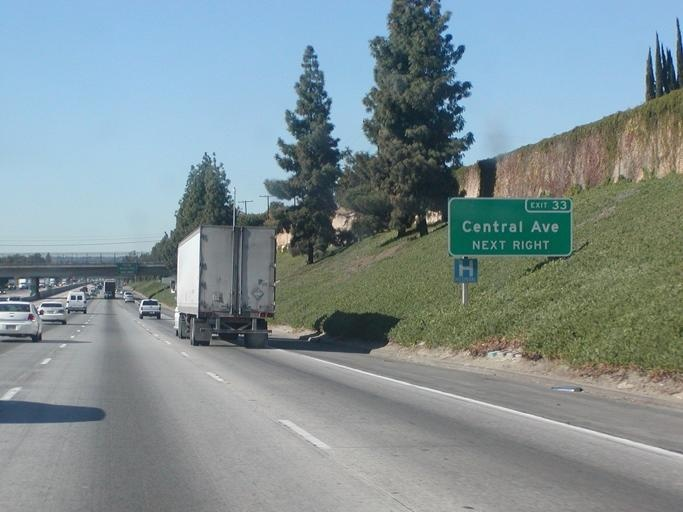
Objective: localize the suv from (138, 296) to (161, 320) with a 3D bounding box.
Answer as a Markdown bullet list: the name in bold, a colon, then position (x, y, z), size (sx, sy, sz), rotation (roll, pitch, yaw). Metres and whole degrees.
- **suv**: position (-17.326, 4.648, 63.921), size (1.198, 1.397, 2.922), rotation (1, 3, -15)

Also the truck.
- **truck**: position (-5.258, 1.069, 31.594), size (2.698, 4.307, 6.821), rotation (0, 3, -13)
